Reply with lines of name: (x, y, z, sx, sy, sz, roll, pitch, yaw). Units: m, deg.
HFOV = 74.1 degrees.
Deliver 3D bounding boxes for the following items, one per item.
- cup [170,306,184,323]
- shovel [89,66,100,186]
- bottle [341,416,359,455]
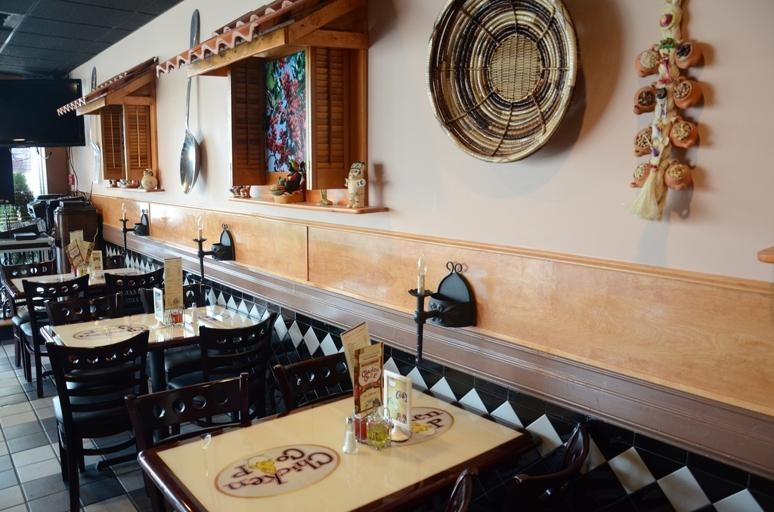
cup: (-1.643, 0.446, 4.034, 0.106, 0.142, 0.090, -6, 13, -36)
shovel: (-4.248, -1.938, 7.426, 0.149, 1.868, 0.158, 2, 4, 8)
bottle: (-0.182, 0.824, 2.458, 0.074, 0.162, 0.150, -2, 15, -5)
